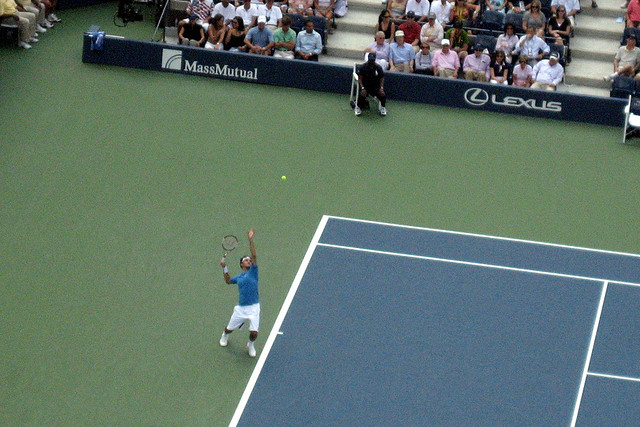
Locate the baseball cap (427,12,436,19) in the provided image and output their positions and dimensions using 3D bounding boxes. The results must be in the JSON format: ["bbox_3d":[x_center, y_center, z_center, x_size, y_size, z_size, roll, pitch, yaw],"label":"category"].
[{"bbox_3d":[3.320,-5.874,27.387,0.322,0.262,0.482,3,2,11],"label":"baseball cap"}]

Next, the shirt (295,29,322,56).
[{"bbox_3d":[-0.334,-5.047,27.270,0.880,0.992,0.599,1,11,-2],"label":"shirt"}]

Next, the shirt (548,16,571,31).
[{"bbox_3d":[7.219,-5.897,27.729,0.632,0.720,0.381,2,1,9],"label":"shirt"}]

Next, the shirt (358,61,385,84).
[{"bbox_3d":[1.419,-4.115,25.546,0.809,0.865,0.451,2,40,4],"label":"shirt"}]

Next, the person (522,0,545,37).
[{"bbox_3d":[6.426,-5.833,27.479,0.619,1.174,1.071,1,13,10],"label":"person"}]

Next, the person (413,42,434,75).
[{"bbox_3d":[3.058,-4.496,26.837,0.612,0.989,0.695,-5,22,-9],"label":"person"}]

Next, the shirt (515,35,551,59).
[{"bbox_3d":[6.215,-4.862,26.900,1.017,0.630,0.464,9,24,6],"label":"shirt"}]

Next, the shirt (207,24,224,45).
[{"bbox_3d":[-3.114,-5.293,27.319,0.333,0.545,0.371,10,7,10],"label":"shirt"}]

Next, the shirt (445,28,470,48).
[{"bbox_3d":[4.052,-5.185,27.245,0.704,0.488,0.406,8,24,4],"label":"shirt"}]

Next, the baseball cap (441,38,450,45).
[{"bbox_3d":[3.588,-4.931,26.448,0.262,0.224,0.471,1,17,7],"label":"baseball cap"}]

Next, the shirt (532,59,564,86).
[{"bbox_3d":[6.518,-4.029,26.422,0.571,0.547,0.333,23,2,15],"label":"shirt"}]

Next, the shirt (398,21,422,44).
[{"bbox_3d":[2.706,-5.405,27.817,0.853,1.029,0.557,1,8,3],"label":"shirt"}]

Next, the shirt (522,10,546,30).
[{"bbox_3d":[6.424,-5.736,27.613,0.752,0.843,0.435,0,4,8],"label":"shirt"}]

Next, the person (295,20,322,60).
[{"bbox_3d":[-0.314,-5.072,26.970,0.743,1.102,0.545,4,23,-2],"label":"person"}]

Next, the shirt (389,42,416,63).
[{"bbox_3d":[2.372,-4.663,26.803,0.817,0.735,0.466,0,4,1],"label":"shirt"}]

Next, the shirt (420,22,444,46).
[{"bbox_3d":[3.368,-5.305,27.576,0.733,1.054,0.561,2,7,11],"label":"shirt"}]

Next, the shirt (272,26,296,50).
[{"bbox_3d":[-1.056,-5.225,27.310,0.882,0.955,0.492,-1,8,-5],"label":"shirt"}]

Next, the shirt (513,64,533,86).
[{"bbox_3d":[5.824,-3.986,26.425,0.541,0.579,0.183,5,22,-2],"label":"shirt"}]

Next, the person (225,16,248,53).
[{"bbox_3d":[-2.480,-5.271,27.052,0.781,0.988,0.904,10,24,9],"label":"person"}]

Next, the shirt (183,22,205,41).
[{"bbox_3d":[-3.746,-5.386,27.309,0.664,0.765,0.379,-1,8,-11],"label":"shirt"}]

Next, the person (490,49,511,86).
[{"bbox_3d":[5.174,-4.229,26.512,0.580,1.089,1.021,1,23,6],"label":"person"}]

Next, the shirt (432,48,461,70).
[{"bbox_3d":[3.684,-4.421,26.807,0.798,0.711,0.479,1,-1,8],"label":"shirt"}]

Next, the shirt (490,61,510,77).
[{"bbox_3d":[5.167,-4.180,26.570,0.397,0.385,0.144,0,3,-7],"label":"shirt"}]

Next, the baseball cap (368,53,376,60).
[{"bbox_3d":[1.414,-4.313,25.306,0.182,0.150,0.282,7,25,1],"label":"baseball cap"}]

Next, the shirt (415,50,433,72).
[{"bbox_3d":[2.998,-4.443,27.068,0.674,0.806,0.450,1,14,4],"label":"shirt"}]

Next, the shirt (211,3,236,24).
[{"bbox_3d":[-2.897,-5.993,27.708,0.622,0.691,0.362,2,26,-7],"label":"shirt"}]

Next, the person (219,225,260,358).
[{"bbox_3d":[-1.577,1.557,18.823,0.773,2.657,0.549,8,22,8],"label":"person"}]

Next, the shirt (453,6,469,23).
[{"bbox_3d":[4.323,-6.049,28.088,0.605,0.415,0.354,-3,25,-19],"label":"shirt"}]

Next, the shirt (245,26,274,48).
[{"bbox_3d":[-1.792,-5.401,27.268,0.813,0.746,0.461,1,14,-1],"label":"shirt"}]

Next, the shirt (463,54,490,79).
[{"bbox_3d":[4.588,-4.307,26.790,0.906,1.047,0.559,2,2,11],"label":"shirt"}]

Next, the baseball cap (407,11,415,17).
[{"bbox_3d":[2.762,-6.036,27.843,0.188,0.150,0.378,11,26,11],"label":"baseball cap"}]

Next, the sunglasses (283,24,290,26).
[{"bbox_3d":[-0.982,-5.497,26.892,0.188,0.049,0.066,-11,30,-33],"label":"sunglasses"}]

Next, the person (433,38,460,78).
[{"bbox_3d":[3.678,-4.468,26.510,0.772,1.004,0.707,5,23,-2],"label":"person"}]
